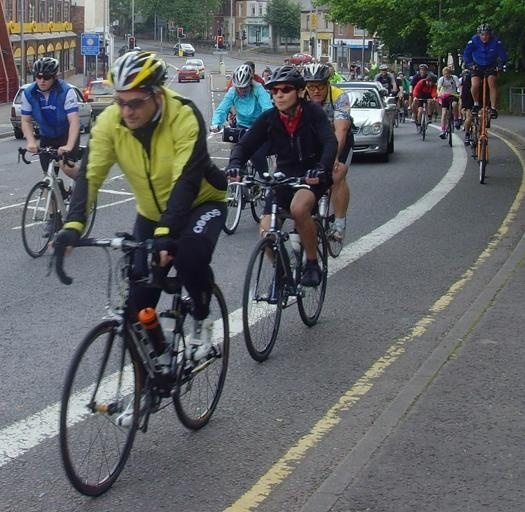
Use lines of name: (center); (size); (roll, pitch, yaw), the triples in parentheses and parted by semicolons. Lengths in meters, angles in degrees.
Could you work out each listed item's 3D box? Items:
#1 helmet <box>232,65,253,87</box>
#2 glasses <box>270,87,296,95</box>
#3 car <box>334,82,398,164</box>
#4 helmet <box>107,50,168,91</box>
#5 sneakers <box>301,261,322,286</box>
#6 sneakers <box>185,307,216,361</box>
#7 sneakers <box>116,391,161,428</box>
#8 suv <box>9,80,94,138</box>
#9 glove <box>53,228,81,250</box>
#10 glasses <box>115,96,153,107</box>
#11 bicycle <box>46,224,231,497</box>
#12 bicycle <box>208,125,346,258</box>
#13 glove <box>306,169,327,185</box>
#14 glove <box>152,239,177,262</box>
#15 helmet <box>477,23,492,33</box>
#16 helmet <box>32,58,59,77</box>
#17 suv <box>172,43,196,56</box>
helmet: (-0.265, -2.523, 9.145); (0.240, 0.137, 0.365); (2, 44, 15)
glasses: (0.142, -1.162, 4.623); (0.164, 0.058, 0.070); (0, 11, 3)
car: (2.708, -3.574, 16.810); (1.856, 1.291, 3.875); (1, 9, 12)
helmet: (-0.511, -0.765, 2.735); (0.181, 0.123, 0.250); (4, 12, 16)
sneakers: (0.360, 0.131, 4.997); (0.199, 0.201, 0.535); (-1, -1, 5)
sneakers: (-0.320, 0.409, 3.251); (0.117, 0.225, 0.348); (4, 5, 1)
sneakers: (-0.535, 0.646, 2.742); (0.070, 0.081, 0.139); (1, -1, 13)
suv: (-7.563, -5.430, 23.782); (1.364, 1.297, 2.769); (9, 14, 41)
glove: (-0.757, -0.061, 2.551); (0.084, 0.051, 0.113); (13, -38, -42)
glasses: (-0.531, -0.630, 2.709); (0.138, 0.047, 0.048); (-2, 11, -9)
bicycle: (-0.454, 0.430, 2.901); (0.310, 1.088, 1.255); (2, 11, 11)
bicycle: (0.017, -1.012, 8.415); (1.177, 1.357, 2.321); (8, 4, 20)
glove: (0.359, -0.529, 4.422); (0.153, 0.107, 0.149); (0, 11, 4)
glove: (-0.390, -0.025, 2.572); (0.075, 0.100, 0.061); (-6, 19, -34)
helmet: (4.588, -4.697, 13.613); (0.236, 0.208, 0.406); (3, 12, 17)
helmet: (-2.495, -2.209, 7.656); (0.247, 0.262, 0.294); (0, 8, -3)
suv: (-14.552, -38.037, 121.569); (2.936, 2.188, 4.996); (-7, 16, -25)
